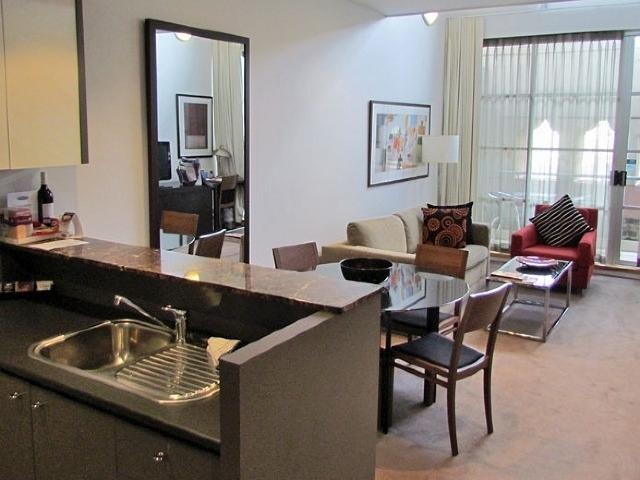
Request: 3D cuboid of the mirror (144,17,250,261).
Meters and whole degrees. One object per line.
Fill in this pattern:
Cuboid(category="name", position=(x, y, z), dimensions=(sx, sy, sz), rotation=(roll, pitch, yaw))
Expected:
Cuboid(category="mirror", position=(-0.950, -0.681, 4.060), dimensions=(0.109, 1.945, 1.055), rotation=(11, 17, 39))

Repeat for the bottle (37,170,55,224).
Cuboid(category="bottle", position=(-1.629, -0.256, 2.989), dimensions=(0.092, 0.290, 0.220), rotation=(-6, 15, -27))

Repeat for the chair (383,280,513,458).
Cuboid(category="chair", position=(0.870, 0.761, 3.347), dimensions=(0.702, 1.049, 0.525), rotation=(-10, 17, -39))

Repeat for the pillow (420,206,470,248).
Cuboid(category="pillow", position=(1.466, -0.145, 5.939), dimensions=(0.449, 0.466, 0.178), rotation=(0, -15, 11))

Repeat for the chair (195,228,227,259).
Cuboid(category="chair", position=(-0.844, 0.020, 3.849), dimensions=(0.189, 0.293, 0.167), rotation=(11, 17, 20))

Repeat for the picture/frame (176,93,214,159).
Cuboid(category="picture/frame", position=(-0.997, -0.897, 3.956), dimensions=(0.029, 0.659, 0.490), rotation=(5, 9, 35))

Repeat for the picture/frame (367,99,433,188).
Cuboid(category="picture/frame", position=(0.997, -1.255, 6.512), dimensions=(0.033, 0.869, 1.249), rotation=(6, 12, 34))

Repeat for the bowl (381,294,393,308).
Cuboid(category="bowl", position=(0.415, 0.389, 3.196), dimensions=(0.052, 0.103, 0.075), rotation=(1, 12, 13))

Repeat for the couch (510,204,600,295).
Cuboid(category="couch", position=(3.033, 0.075, 6.443), dimensions=(1.067, 1.193, 1.097), rotation=(6, 12, 33))

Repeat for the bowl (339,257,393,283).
Cuboid(category="bowl", position=(0.323, 0.213, 3.484), dimensions=(0.218, 0.093, 0.221), rotation=(-1, 13, 0))

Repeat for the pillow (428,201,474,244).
Cuboid(category="pillow", position=(1.561, -0.185, 6.057), dimensions=(0.533, 0.567, 0.204), rotation=(1, -16, 3))
